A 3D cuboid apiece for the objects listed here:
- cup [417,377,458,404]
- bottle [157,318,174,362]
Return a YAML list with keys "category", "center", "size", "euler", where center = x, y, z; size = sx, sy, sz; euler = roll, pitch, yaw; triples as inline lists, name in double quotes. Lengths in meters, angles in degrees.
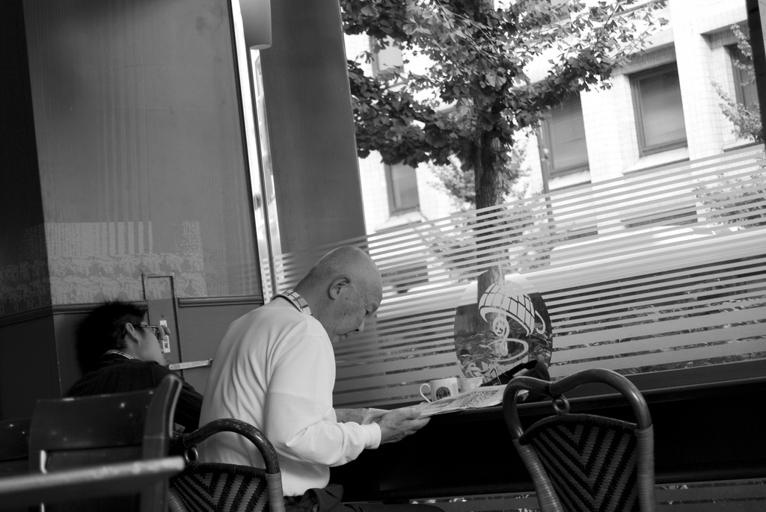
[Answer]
- category: "cup"
  center: [0.271, 0.657, 3.781]
  size: [0.167, 0.119, 0.109]
  euler: [-10, -15, 18]
- category: "bottle"
  center: [-1.335, 0.501, 4.725]
  size: [0.052, 0.187, 0.111]
  euler: [-3, 10, -1]
